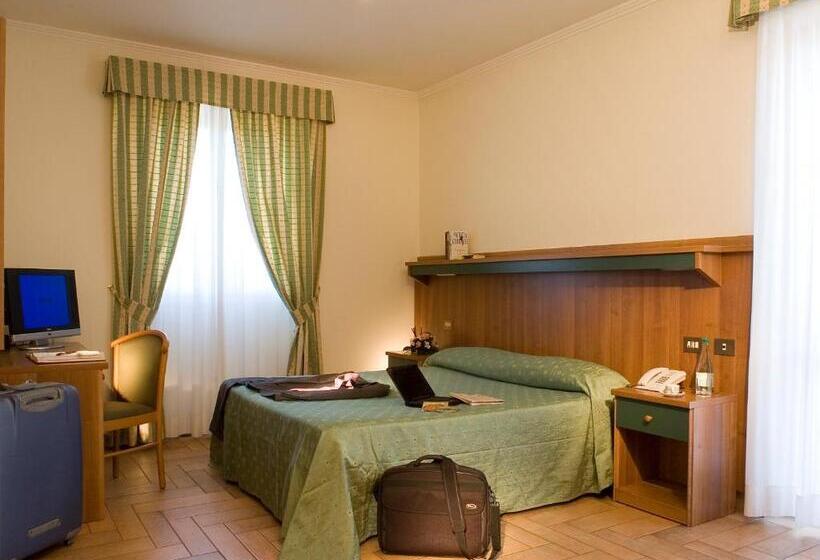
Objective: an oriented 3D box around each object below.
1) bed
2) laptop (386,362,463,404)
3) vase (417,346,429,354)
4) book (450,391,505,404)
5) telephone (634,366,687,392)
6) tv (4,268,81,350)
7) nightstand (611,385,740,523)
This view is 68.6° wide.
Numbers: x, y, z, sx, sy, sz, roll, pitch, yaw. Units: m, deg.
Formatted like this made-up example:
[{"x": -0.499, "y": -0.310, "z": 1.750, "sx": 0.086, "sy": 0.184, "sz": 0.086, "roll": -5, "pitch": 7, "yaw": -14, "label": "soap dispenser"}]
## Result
[{"x": 0.443, "y": 0.547, "z": 4.248, "sx": 2.382, "sy": 1.376, "sz": 2.782, "roll": 2, "pitch": -3, "yaw": -32, "label": "bed"}, {"x": 0.113, "y": 0.726, "z": 4.051, "sx": 0.364, "sy": 0.236, "sz": 0.396, "roll": -2, "pitch": 2, "yaw": -38, "label": "laptop"}, {"x": 0.140, "y": 0.729, "z": 5.957, "sx": 0.108, "sy": 0.069, "sz": 0.060, "roll": 3, "pitch": 4, "yaw": 41, "label": "vase"}, {"x": 0.472, "y": 0.821, "z": 4.066, "sx": 0.339, "sy": 0.046, "sz": 0.244, "roll": -1, "pitch": 1, "yaw": -14, "label": "book"}, {"x": 1.715, "y": 0.667, "z": 4.115, "sx": 0.213, "sy": 0.072, "sz": 0.206, "roll": -12, "pitch": 3, "yaw": -28, "label": "telephone"}, {"x": -2.794, "y": 0.235, "z": 4.552, "sx": 0.225, "sy": 0.588, "sz": 0.623, "roll": -12, "pitch": -8, "yaw": 30, "label": "tv"}, {"x": 1.785, "y": 1.159, "z": 4.059, "sx": 0.519, "sy": 0.813, "sz": 0.637, "roll": -2, "pitch": 3, "yaw": -43, "label": "nightstand"}]
